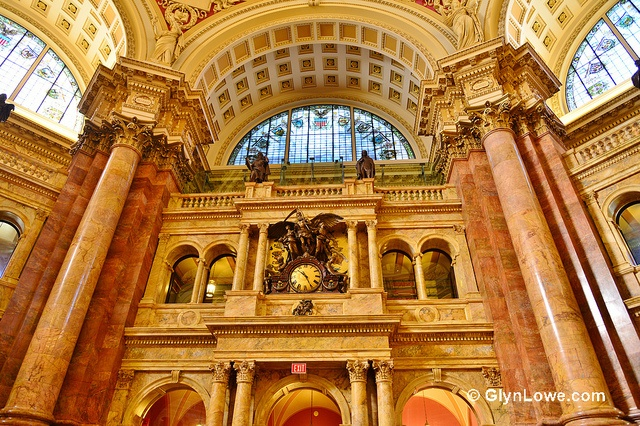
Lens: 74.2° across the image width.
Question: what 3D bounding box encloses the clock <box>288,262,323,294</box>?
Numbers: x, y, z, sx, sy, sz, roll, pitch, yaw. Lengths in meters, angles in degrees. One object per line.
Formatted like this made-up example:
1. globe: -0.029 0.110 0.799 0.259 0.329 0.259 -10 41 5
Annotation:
1. clock: -0.474 2.048 13.953 1.201 0.298 1.274 7 -64 -3

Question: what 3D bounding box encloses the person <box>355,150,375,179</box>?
1. person: 1.741 -1.828 16.420 0.628 1.707 0.570 1 -32 2
